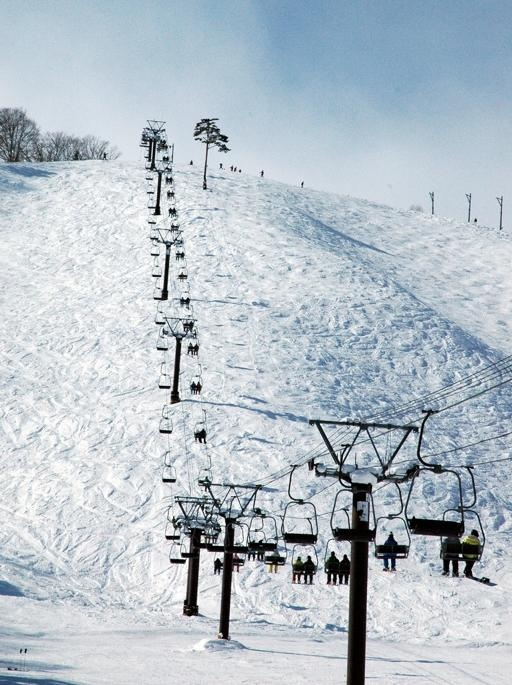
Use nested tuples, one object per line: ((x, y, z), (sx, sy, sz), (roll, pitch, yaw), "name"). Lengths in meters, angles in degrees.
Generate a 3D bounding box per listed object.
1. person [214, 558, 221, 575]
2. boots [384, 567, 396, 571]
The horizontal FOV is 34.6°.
((-1.456, 8.489, 31.204), (0.286, 0.586, 0.808), (3, -9, -2), "person")
((4.956, 8.435, 30.596), (0.277, 0.095, 0.181), (9, -18, 2), "boots")
